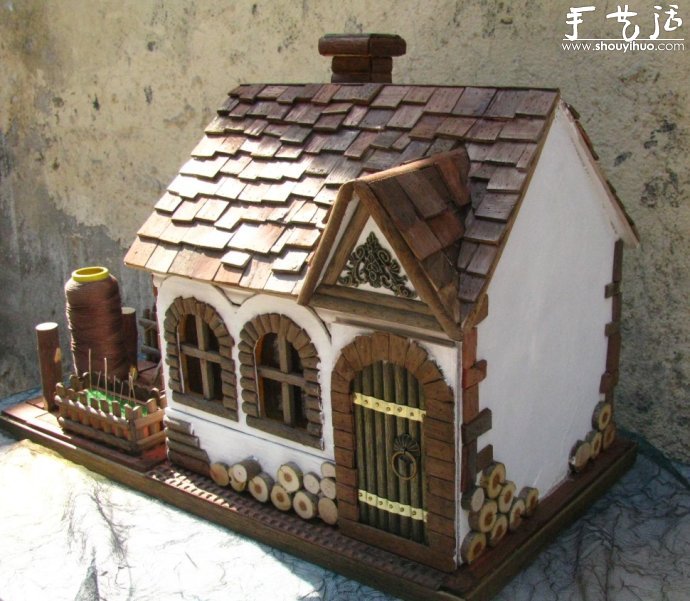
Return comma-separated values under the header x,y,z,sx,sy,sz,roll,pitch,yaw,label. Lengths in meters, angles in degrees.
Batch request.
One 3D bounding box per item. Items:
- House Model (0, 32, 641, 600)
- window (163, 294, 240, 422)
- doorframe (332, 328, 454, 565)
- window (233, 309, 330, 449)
x,y,z,sx,sy,sz,roll,pitch,yaw,label
-0.125,-0.094,9.029,4.157,4.308,2.353,10,16,33,House Model
-1.232,0.471,9.158,0.993,1.068,0.085,17,29,32,window
0.381,1.136,8.116,1.110,1.831,0.181,11,17,37,doorframe
-0.498,0.617,8.662,1.070,1.158,0.125,14,23,37,window
